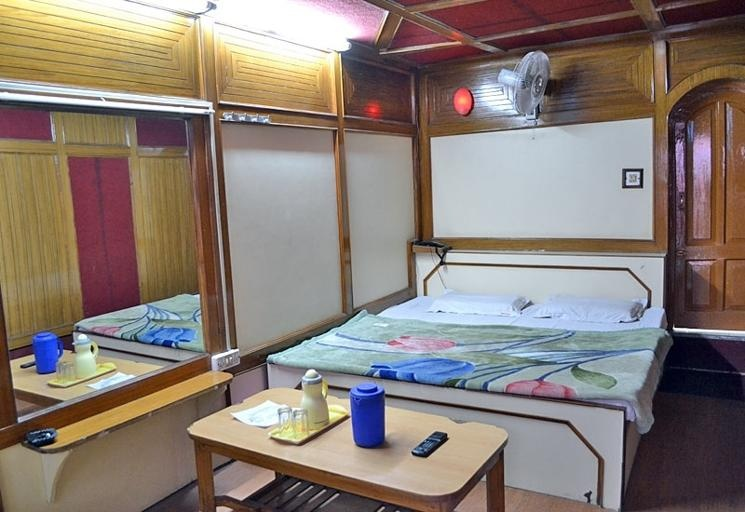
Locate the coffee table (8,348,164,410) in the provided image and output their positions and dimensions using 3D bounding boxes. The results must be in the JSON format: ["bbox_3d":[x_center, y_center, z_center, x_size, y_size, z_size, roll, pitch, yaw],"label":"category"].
[{"bbox_3d":[-1.833,0.714,3.279,0.098,0.336,0.795,6,11,40],"label":"coffee table"}]

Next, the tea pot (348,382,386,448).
[{"bbox_3d":[-0.019,0.844,2.775,0.185,0.324,0.178,-2,10,0],"label":"tea pot"}]

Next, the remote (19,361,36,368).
[{"bbox_3d":[-2.024,0.642,3.034,0.015,0.034,0.086,1,9,19],"label":"remote"}]

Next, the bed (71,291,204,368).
[{"bbox_3d":[-1.603,0.540,3.799,1.071,0.171,1.057,18,11,38],"label":"bed"}]

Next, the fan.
[{"bbox_3d":[1.502,-1.742,5.236,0.446,0.601,0.689,22,12,35],"label":"fan"}]
